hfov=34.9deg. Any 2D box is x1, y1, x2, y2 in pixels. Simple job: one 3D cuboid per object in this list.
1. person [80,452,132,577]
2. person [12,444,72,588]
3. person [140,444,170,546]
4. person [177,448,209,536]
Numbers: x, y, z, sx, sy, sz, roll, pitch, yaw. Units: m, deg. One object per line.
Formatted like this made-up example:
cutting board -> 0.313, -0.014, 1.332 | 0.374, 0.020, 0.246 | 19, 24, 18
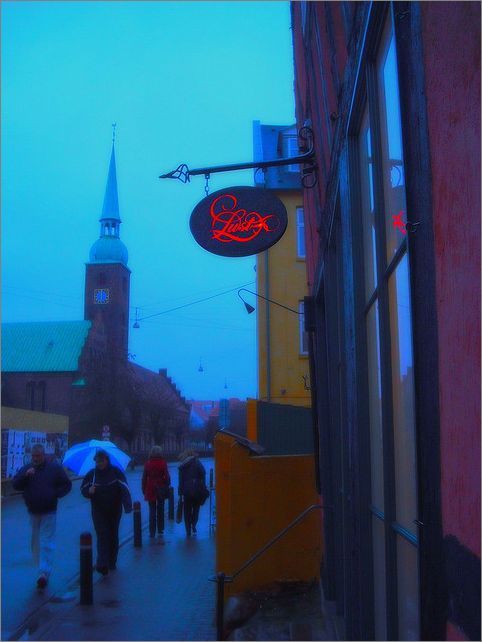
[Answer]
person -> -1.431, 2.030, 8.090 | 0.558, 1.262, 0.568 | 2, -7, -30
person -> -1.965, 1.930, 7.558 | 0.553, 1.361, 0.581 | -2, -6, 0
person -> -1.242, 2.466, 11.199 | 0.325, 1.407, 0.386 | 0, 14, -6
person -> -0.715, 2.605, 11.428 | 0.385, 1.310, 0.424 | 8, -27, -19
